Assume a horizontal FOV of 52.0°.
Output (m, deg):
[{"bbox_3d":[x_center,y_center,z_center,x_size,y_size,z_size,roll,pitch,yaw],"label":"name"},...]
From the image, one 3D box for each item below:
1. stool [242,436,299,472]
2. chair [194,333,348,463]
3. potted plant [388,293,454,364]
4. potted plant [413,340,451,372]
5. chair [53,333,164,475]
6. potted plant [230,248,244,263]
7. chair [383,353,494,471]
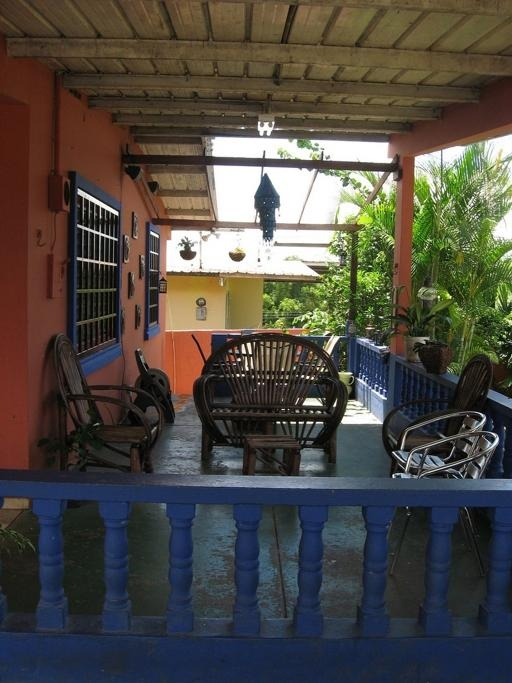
[{"bbox_3d":[0.094,0.803,3.607,0.378,0.225,0.370,1,10,-4],"label":"stool"},{"bbox_3d":[0.129,0.506,4.414,1.135,1.022,0.581,1,2,-2],"label":"chair"},{"bbox_3d":[1.633,-0.165,5.395,0.642,0.655,0.528,-7,-4,5],"label":"potted plant"},{"bbox_3d":[1.524,0.090,4.450,0.249,0.303,0.300,-3,4,-13],"label":"potted plant"},{"bbox_3d":[-1.067,0.478,3.759,0.720,0.959,0.574,3,3,-5],"label":"chair"},{"bbox_3d":[-0.447,-2.062,12.297,0.298,0.301,0.599,5,8,10],"label":"potted plant"},{"bbox_3d":[1.138,0.609,3.533,0.732,0.991,0.649,-3,15,5],"label":"chair"}]
